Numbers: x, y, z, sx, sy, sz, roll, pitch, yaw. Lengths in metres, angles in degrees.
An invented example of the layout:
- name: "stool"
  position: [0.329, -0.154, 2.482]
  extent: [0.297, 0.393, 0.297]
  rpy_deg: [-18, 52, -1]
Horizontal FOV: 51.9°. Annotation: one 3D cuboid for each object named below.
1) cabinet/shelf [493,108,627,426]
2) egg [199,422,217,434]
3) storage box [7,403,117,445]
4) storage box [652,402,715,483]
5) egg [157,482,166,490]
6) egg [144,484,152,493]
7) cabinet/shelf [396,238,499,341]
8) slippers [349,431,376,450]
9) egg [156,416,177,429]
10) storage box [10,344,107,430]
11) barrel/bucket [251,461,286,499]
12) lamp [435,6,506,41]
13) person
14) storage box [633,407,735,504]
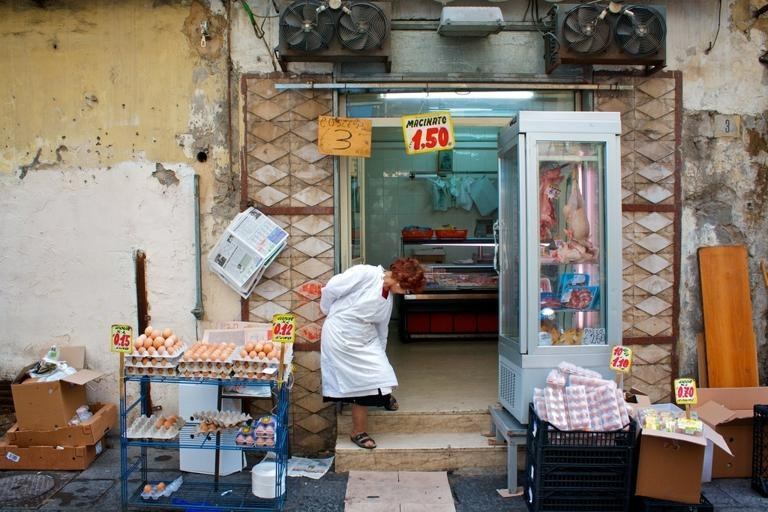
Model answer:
- name: "cabinet/shelf"
  position: [1.746, -0.134, 8.147]
  extent: [1.277, 3.463, 0.883]
  rpy_deg: [0, 1, 0]
- name: "egg"
  position: [-1.634, 1.605, 7.372]
  extent: [0.119, 0.037, 0.113]
  rpy_deg: [10, 4, -7]
- name: "storage box"
  position: [-3.233, 1.767, 7.907]
  extent: [1.025, 0.312, 0.814]
  rpy_deg: [-1, 4, -7]
- name: "storage box"
  position: [2.938, 1.810, 7.704]
  extent: [0.579, 0.849, 0.520]
  rpy_deg: [4, 12, 7]
- name: "egg"
  position: [-2.084, 2.158, 7.417]
  extent: [0.072, 0.068, 0.072]
  rpy_deg: [-4, 27, -18]
- name: "egg"
  position: [-2.202, 2.175, 7.383]
  extent: [0.082, 0.077, 0.090]
  rpy_deg: [-1, 2, -23]
- name: "cabinet/shelf"
  position: [0.837, 0.482, 10.218]
  extent: [1.319, 1.207, 0.680]
  rpy_deg: [0, 8, -1]
- name: "slippers"
  position: [-0.186, 1.839, 7.862]
  extent: [0.122, 0.095, 0.237]
  rpy_deg: [-5, 8, -39]
- name: "egg"
  position: [-2.026, 1.565, 7.408]
  extent: [0.180, 0.094, 0.168]
  rpy_deg: [-1, 2, -20]
- name: "storage box"
  position: [-3.267, 1.341, 8.242]
  extent: [0.736, 0.791, 0.894]
  rpy_deg: [0, 0, -1]
- name: "barrel/bucket"
  position: [-1.093, 2.129, 7.543]
  extent: [0.342, 0.231, 0.344]
  rpy_deg: [2, 11, 0]
- name: "lamp"
  position: [0.902, -2.434, 8.185]
  extent: [0.658, 0.247, 0.288]
  rpy_deg: [0, 2, 3]
- name: "person"
  position: [-0.155, 0.968, 7.863]
  extent: [0.983, 1.894, 0.501]
  rpy_deg: [-1, 2, -2]
- name: "storage box"
  position: [2.582, 1.789, 7.354]
  extent: [0.853, 0.779, 1.014]
  rpy_deg: [0, 0, 0]
